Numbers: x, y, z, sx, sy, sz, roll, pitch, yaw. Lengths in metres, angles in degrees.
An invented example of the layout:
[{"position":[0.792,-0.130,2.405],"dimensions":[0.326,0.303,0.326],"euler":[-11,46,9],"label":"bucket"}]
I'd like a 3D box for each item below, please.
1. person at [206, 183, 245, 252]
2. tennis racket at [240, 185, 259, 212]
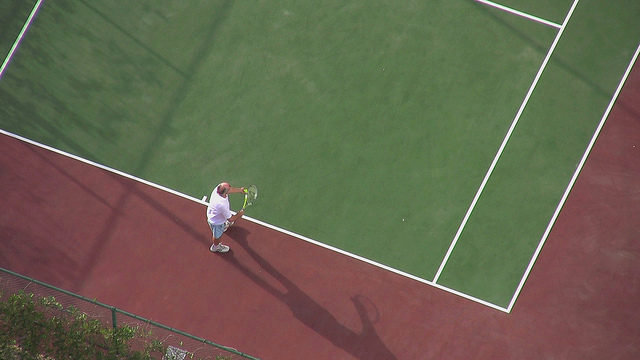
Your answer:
[{"position":[-2.795,1.036,25.178],"dimensions":[1.032,2.328,0.843],"euler":[-15,33,-17],"label":"person"},{"position":[-2.082,0.547,25.330],"dimensions":[0.137,0.856,0.337],"euler":[-32,76,-30],"label":"tennis racket"}]
